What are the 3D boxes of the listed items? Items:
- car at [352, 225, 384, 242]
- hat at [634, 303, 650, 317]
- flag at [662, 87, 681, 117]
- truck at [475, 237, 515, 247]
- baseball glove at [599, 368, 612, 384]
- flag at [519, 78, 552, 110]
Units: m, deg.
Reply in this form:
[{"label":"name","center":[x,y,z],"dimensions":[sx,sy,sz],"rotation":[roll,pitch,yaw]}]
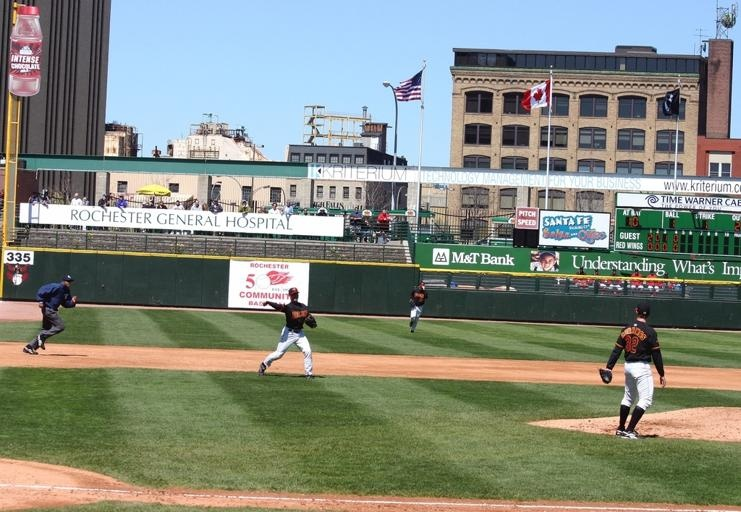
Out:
[{"label":"car","center":[-0.116,-1.316,98.928],"dimensions":[1.778,0.809,1.017],"rotation":[0,-13,1]},{"label":"hat","center":[11.610,2.336,67.604],"dimensions":[0.552,0.542,0.854],"rotation":[2,0,10]},{"label":"flag","center":[18.879,-9.671,99.353],"dimensions":[0.921,1.735,2.546],"rotation":[2,0,13]},{"label":"truck","center":[7.796,-0.851,98.625],"dimensions":[2.008,0.532,4.522],"rotation":[2,0,2]},{"label":"baseball glove","center":[10.035,5.135,67.479],"dimensions":[0.453,0.378,0.793],"rotation":[-1,16,10]},{"label":"flag","center":[10.101,-9.788,95.764],"dimensions":[1.154,1.710,2.364],"rotation":[2,0,-14]}]
